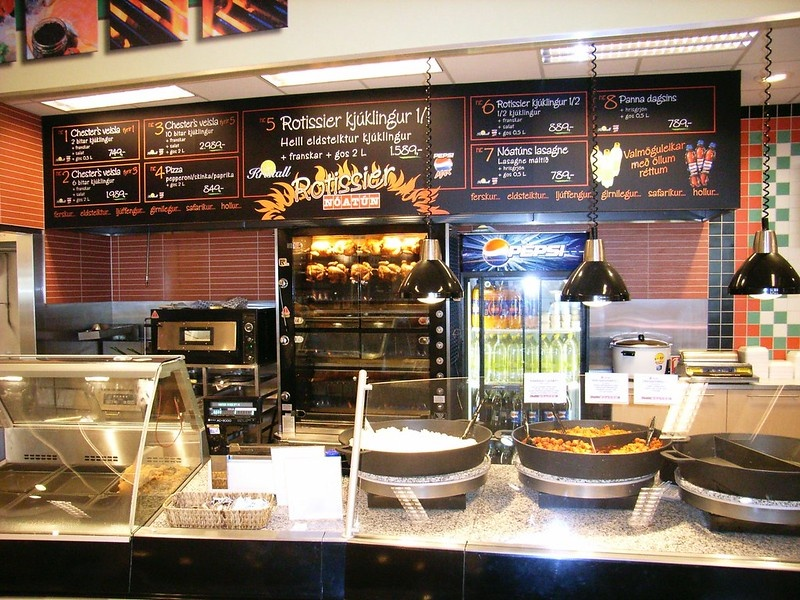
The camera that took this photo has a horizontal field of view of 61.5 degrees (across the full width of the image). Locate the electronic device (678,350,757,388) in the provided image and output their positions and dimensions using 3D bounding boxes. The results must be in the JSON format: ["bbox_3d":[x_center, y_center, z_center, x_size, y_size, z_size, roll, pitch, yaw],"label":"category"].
[{"bbox_3d":[2.452,0.519,5.224,0.533,0.212,0.636,-1,-4,16],"label":"electronic device"}]

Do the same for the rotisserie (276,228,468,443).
[{"bbox_3d":[-0.619,0.308,6.355,1.735,1.758,1.213,1,-1,-19],"label":"rotisserie"}]

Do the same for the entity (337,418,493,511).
[{"bbox_3d":[0.090,0.866,3.575,0.804,0.353,0.479,-2,6,-9],"label":"entity"}]

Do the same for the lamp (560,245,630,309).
[{"bbox_3d":[1.024,-0.128,3.717,0.409,0.352,0.361,0,-4,3],"label":"lamp"}]

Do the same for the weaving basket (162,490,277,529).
[{"bbox_3d":[-0.921,1.049,3.406,0.450,0.073,0.203,0,-2,3],"label":"weaving basket"}]

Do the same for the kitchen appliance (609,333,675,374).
[{"bbox_3d":[2.005,0.430,5.503,0.459,0.269,0.512,-1,0,-40],"label":"kitchen appliance"}]

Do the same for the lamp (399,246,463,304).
[{"bbox_3d":[0.167,-0.142,3.879,0.391,0.307,0.354,0,-4,-1],"label":"lamp"}]

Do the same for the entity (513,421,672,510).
[{"bbox_3d":[0.997,0.846,3.517,0.806,0.364,0.403,0,6,8],"label":"entity"}]

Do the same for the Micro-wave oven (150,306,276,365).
[{"bbox_3d":[-1.572,0.315,5.661,1.036,0.505,0.368,-2,7,-11],"label":"Micro-wave oven"}]
